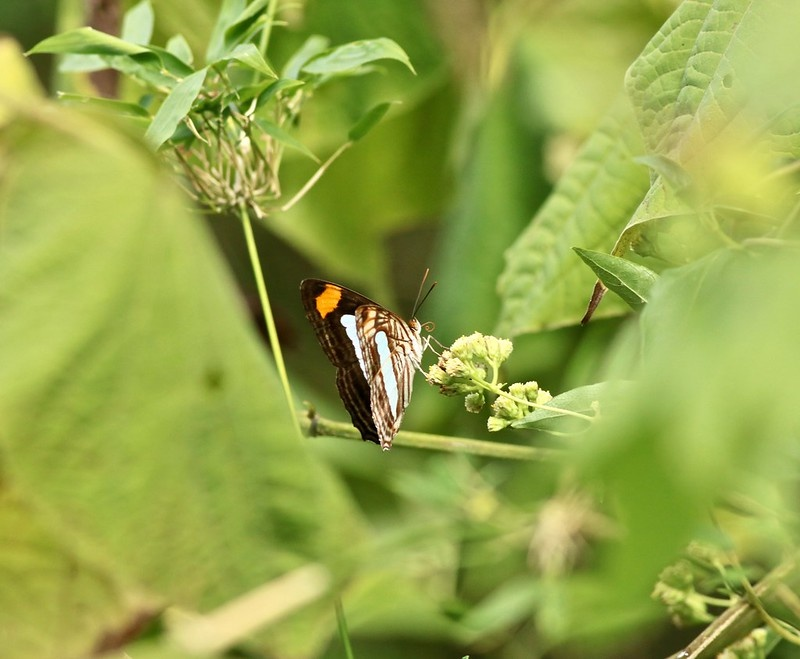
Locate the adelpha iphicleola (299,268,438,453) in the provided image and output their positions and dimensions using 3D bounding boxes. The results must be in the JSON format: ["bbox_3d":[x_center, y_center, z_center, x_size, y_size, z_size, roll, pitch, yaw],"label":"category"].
[{"bbox_3d":[-0.023,0.026,0.584,0.071,0.122,0.101,-29,5,4],"label":"adelpha iphicleola"}]
